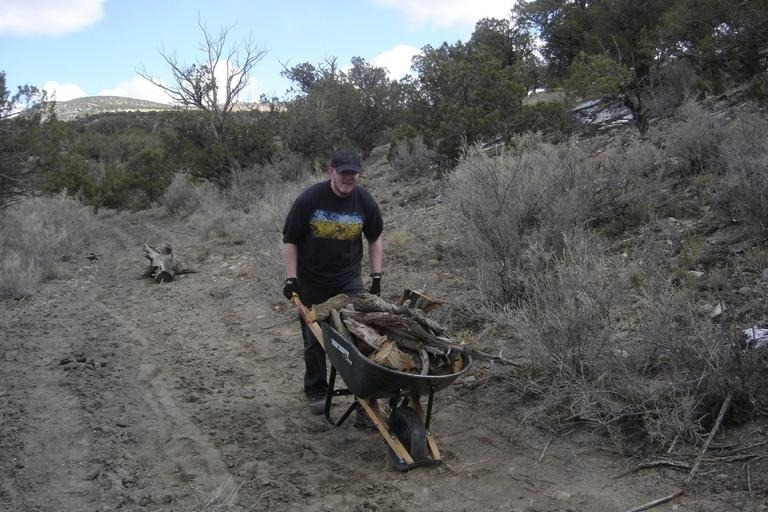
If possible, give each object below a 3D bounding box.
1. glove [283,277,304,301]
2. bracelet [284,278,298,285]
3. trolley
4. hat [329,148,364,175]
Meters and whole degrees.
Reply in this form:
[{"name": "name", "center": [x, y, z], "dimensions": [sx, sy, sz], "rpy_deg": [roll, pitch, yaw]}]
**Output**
[{"name": "glove", "center": [-1.160, 0.447, 7.411], "dimensions": [0.181, 0.267, 0.137], "rpy_deg": [-6, -26, -34]}, {"name": "bracelet", "center": [-1.186, 0.326, 7.447], "dimensions": [0.084, 0.132, 0.120], "rpy_deg": [2, -3, -38]}, {"name": "trolley", "center": [-0.066, 1.608, 6.970], "dimensions": [1.251, 1.310, 2.775], "rpy_deg": [6, 12, -37]}, {"name": "hat", "center": [-0.471, -1.138, 7.172], "dimensions": [0.369, 0.309, 0.222], "rpy_deg": [-9, 8, -11]}]
